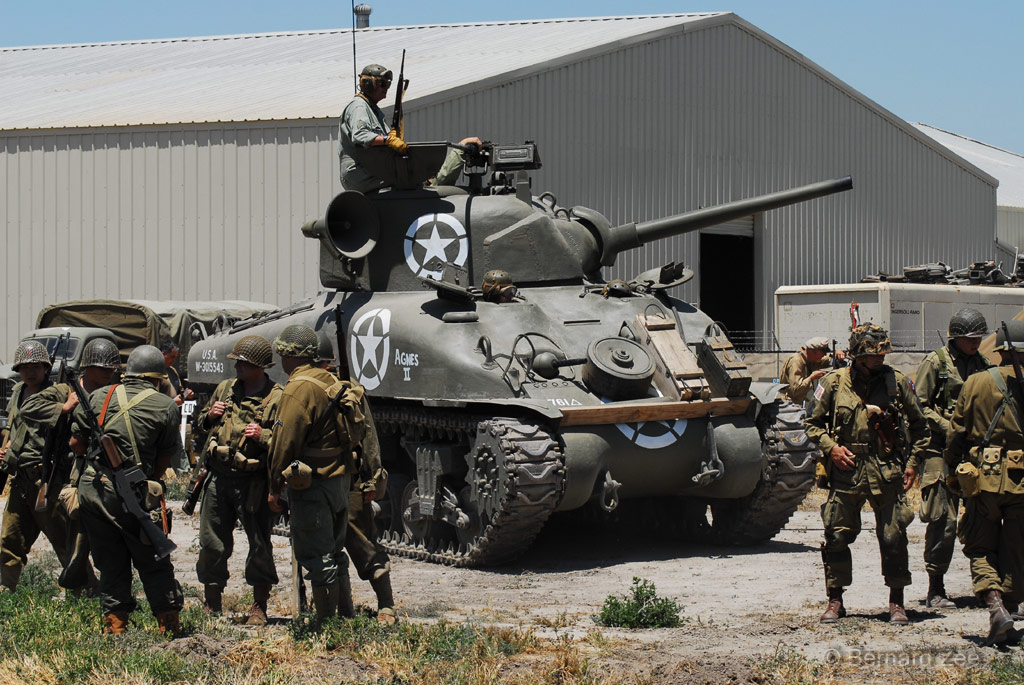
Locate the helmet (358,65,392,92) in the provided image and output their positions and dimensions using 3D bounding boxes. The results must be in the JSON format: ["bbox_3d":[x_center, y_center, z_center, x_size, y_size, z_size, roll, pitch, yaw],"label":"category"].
[{"bbox_3d":[-1.874,-3.805,22.798,0.372,0.286,0.372,-3,2,16],"label":"helmet"}]

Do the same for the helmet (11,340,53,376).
[{"bbox_3d":[-5.766,0.204,19.604,0.320,0.293,0.435,1,-12,-19],"label":"helmet"}]

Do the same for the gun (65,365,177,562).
[{"bbox_3d":[-4.242,1.396,18.161,1.090,2.131,0.869,-1,6,-18],"label":"gun"}]

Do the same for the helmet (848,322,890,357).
[{"bbox_3d":[4.150,0.022,18.925,0.330,0.433,0.418,-2,-16,-44],"label":"helmet"}]

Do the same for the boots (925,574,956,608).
[{"bbox_3d":[5.185,3.068,19.544,0.361,0.568,0.283,-3,3,-23],"label":"boots"}]

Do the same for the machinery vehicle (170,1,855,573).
[{"bbox_3d":[-0.575,-0.480,24.462,4.893,5.697,9.517,-2,4,-36],"label":"machinery vehicle"}]

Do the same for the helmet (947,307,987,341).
[{"bbox_3d":[5.439,-0.183,19.437,0.293,0.382,0.420,-2,15,-11],"label":"helmet"}]

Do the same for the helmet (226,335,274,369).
[{"bbox_3d":[-3.004,0.106,18.710,0.433,0.262,0.353,21,11,42],"label":"helmet"}]

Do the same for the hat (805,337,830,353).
[{"bbox_3d":[4.457,0.048,23.438,0.278,0.159,0.429,1,2,28],"label":"hat"}]

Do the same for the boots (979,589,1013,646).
[{"bbox_3d":[5.422,3.151,18.041,0.210,0.483,0.671,-16,-31,-3],"label":"boots"}]

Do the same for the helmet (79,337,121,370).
[{"bbox_3d":[-4.692,0.174,18.947,0.311,0.379,0.433,0,-10,17],"label":"helmet"}]

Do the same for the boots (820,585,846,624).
[{"bbox_3d":[3.773,3.180,18.998,0.179,0.391,0.525,-4,-15,20],"label":"boots"}]

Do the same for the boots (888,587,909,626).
[{"bbox_3d":[4.492,3.220,19.079,0.182,0.445,0.429,0,-18,-3],"label":"boots"}]
